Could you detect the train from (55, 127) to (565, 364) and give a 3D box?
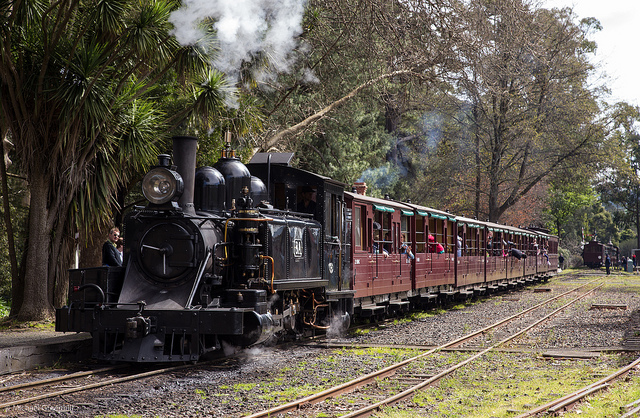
[{"bbox_3d":[2.848,1.474,22.875,4.503,4.098,26.578,0,-3,22],"label":"train"}]

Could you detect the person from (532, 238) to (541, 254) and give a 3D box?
[{"bbox_3d":[13.753,2.319,37.329,0.729,0.938,0.259,7,-10,-41],"label":"person"}]

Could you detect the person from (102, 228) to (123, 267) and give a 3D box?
[{"bbox_3d":[-4.550,0.909,13.083,0.481,0.870,0.536,1,-1,-8],"label":"person"}]
